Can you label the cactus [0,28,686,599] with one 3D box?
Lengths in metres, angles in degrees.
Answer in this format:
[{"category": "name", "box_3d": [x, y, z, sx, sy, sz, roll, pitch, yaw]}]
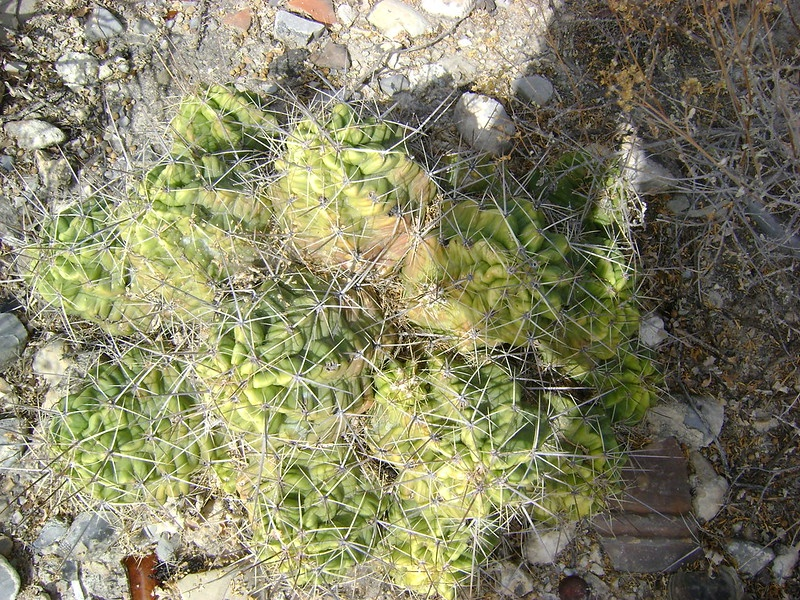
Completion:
[{"category": "cactus", "box_3d": [-0.245, 0.232, 4.198, 3.140, 1.234, 2.381, 5, 71, -2]}]
